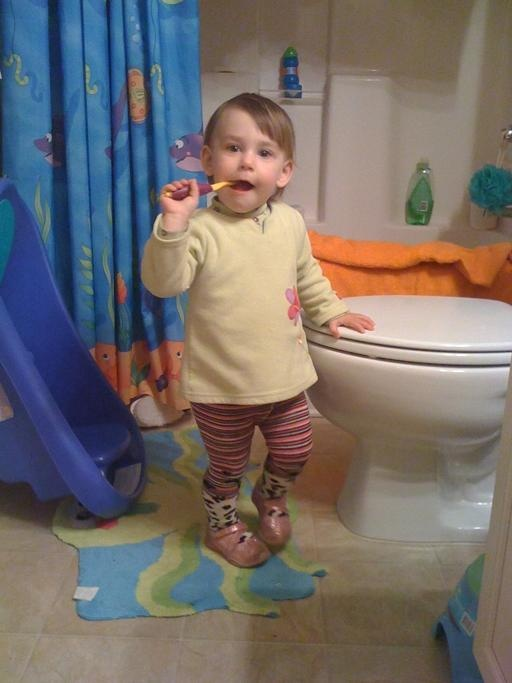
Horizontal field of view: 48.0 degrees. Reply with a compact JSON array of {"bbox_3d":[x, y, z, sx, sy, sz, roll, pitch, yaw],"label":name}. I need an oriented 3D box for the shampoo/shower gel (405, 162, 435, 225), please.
[{"bbox_3d":[0.443,-0.397,1.550,0.076,0.168,0.059,6,30,13],"label":"shampoo/shower gel"}]

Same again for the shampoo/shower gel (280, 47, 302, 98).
[{"bbox_3d":[0.091,-0.704,1.513,0.058,0.123,0.055,1,29,4],"label":"shampoo/shower gel"}]
